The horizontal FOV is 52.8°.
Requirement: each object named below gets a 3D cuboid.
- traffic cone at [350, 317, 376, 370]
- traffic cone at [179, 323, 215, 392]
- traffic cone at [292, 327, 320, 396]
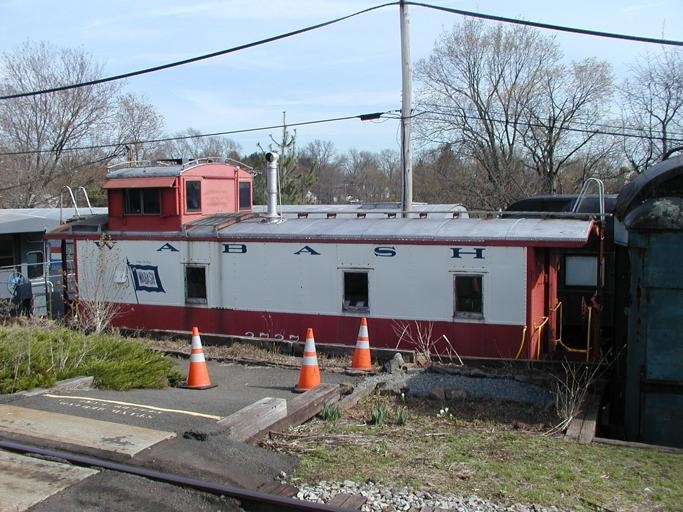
[{"bbox_3d":[0.382,1.700,13.463,0.393,0.990,0.511,-1,1,0],"label":"traffic cone"},{"bbox_3d":[-2.562,1.744,12.116,0.848,1.011,0.826,-1,-3,-28],"label":"traffic cone"},{"bbox_3d":[-0.551,1.750,11.992,0.651,0.972,0.695,0,-6,-6],"label":"traffic cone"}]
